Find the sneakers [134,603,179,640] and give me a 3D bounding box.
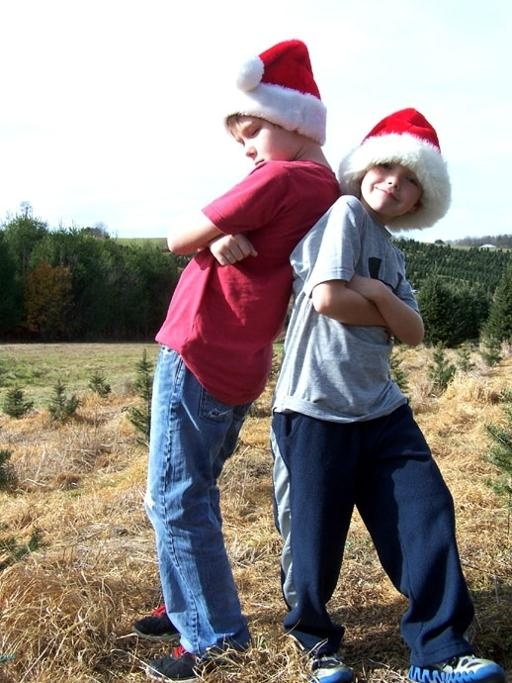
[{"bbox_3d":[-0.393,1.143,2.402,0.233,0.146,0.083,6,-6,-7],"label":"sneakers"}]
